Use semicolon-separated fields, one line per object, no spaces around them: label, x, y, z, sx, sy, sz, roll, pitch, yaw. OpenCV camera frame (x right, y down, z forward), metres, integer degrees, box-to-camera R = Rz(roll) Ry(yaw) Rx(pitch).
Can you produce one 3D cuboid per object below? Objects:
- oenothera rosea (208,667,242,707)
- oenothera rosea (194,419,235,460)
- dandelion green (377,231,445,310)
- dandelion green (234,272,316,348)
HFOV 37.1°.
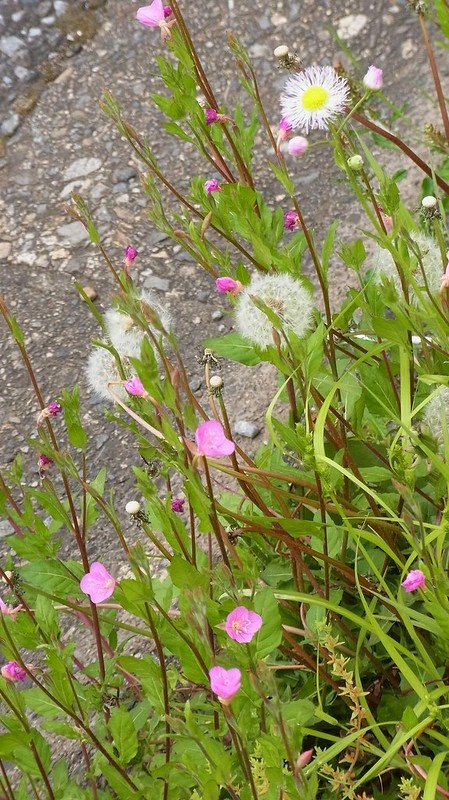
oenothera rosea;0.001;0.273;0.637;0.031;0.034;0.035;1;73;3
oenothera rosea;-0.012;0.048;0.791;0.024;0.044;0.042;-15;42;53
dandelion green;0.383;-0.281;1.393;0.180;0.110;0.190;-1;79;19
dandelion green;0.080;-0.160;1.166;0.138;0.053;0.147;7;97;28
